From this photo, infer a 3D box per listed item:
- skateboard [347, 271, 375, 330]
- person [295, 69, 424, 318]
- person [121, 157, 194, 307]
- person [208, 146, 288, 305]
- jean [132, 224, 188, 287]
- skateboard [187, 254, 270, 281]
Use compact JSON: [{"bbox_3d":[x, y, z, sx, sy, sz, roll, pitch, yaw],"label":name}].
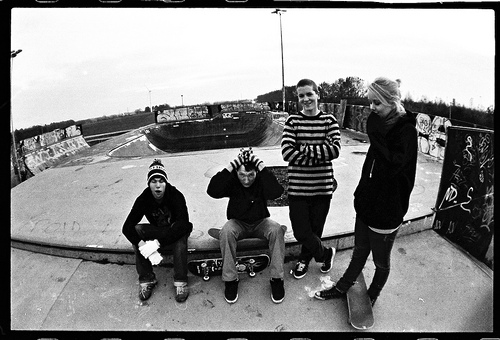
[{"bbox_3d":[1.198,1.469,3.547,0.317,1.219,0.175,-23,43,0],"label":"skateboard"},{"bbox_3d":[1.218,0.271,3.529,1.345,2.442,0.777,-7,15,-6],"label":"person"},{"bbox_3d":[-1.079,0.696,3.754,0.794,1.540,0.776,-9,15,-13],"label":"person"},{"bbox_3d":[-0.004,0.578,3.815,0.903,1.622,0.895,-7,15,-7],"label":"person"},{"bbox_3d":[-0.958,1.079,4.019,0.669,0.897,0.705,-1,-26,0],"label":"jean"},{"bbox_3d":[-0.263,1.148,3.848,1.019,0.381,0.147,0,4,0],"label":"skateboard"}]
